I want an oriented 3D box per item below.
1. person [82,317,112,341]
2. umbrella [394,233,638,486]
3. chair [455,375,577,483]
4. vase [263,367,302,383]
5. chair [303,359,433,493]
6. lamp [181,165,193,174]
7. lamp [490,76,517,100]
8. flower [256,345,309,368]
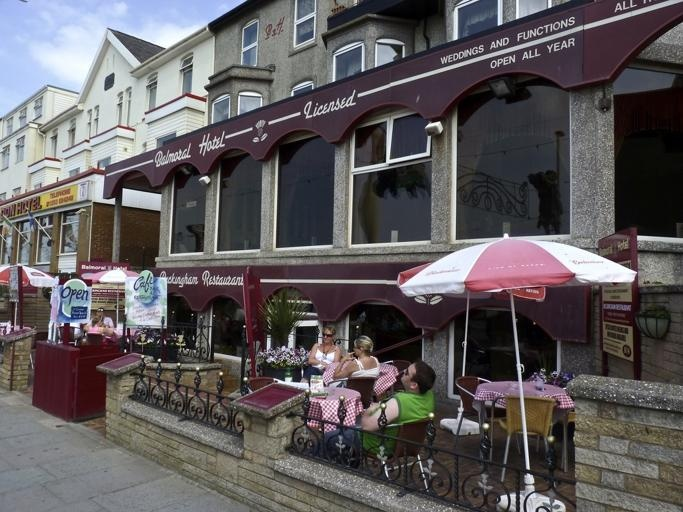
[{"bbox_3d":[-6.295,1.895,16.531,0.742,0.310,0.794,-1,-13,3],"label":"person"},{"bbox_3d":[2.823,0.614,9.793,3.195,3.652,3.345,0,-4,25],"label":"umbrella"},{"bbox_3d":[2.559,2.730,9.448,1.423,1.029,1.458,1,-1,-32],"label":"chair"},{"bbox_3d":[-1.158,2.336,12.409,0.754,0.292,0.728,-1,-5,-2],"label":"vase"},{"bbox_3d":[0.744,2.404,9.357,1.627,2.295,1.497,2,-4,43],"label":"chair"},{"bbox_3d":[-4.675,-2.608,19.191,0.599,0.274,0.148,-5,-6,41],"label":"lamp"},{"bbox_3d":[3.171,-3.235,12.358,0.383,0.337,0.484,6,-39,14],"label":"lamp"},{"bbox_3d":[-1.197,2.054,12.850,1.007,0.419,0.712,-1,-5,3],"label":"flower"}]
